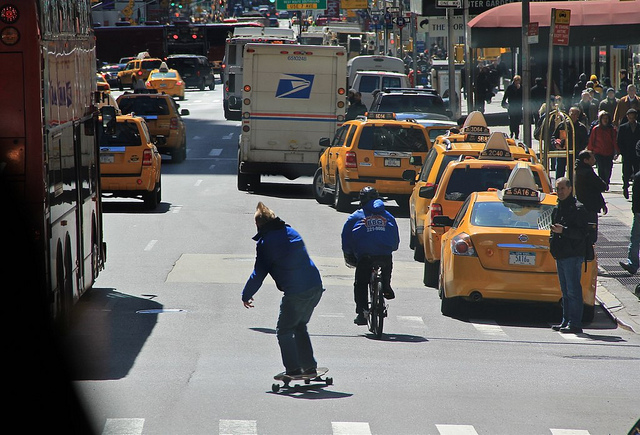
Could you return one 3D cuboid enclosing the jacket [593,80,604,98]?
[{"bbox_3d":[9.701,-4.471,34.735,0.431,0.417,0.767,2,14,3],"label":"jacket"}]

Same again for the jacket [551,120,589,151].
[{"bbox_3d":[6.199,-2.008,24.118,0.666,0.509,1.127,1,7,9],"label":"jacket"}]

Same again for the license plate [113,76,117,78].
[{"bbox_3d":[-15.027,-10.391,73.186,0.171,0.165,0.690,-9,18,-22],"label":"license plate"}]

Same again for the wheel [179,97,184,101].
[{"bbox_3d":[-8.377,-7.232,60.152,0.253,0.210,0.275,0,3,0],"label":"wheel"}]

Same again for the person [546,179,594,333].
[{"bbox_3d":[3.612,0.608,14.423,0.602,2.362,0.655,2,16,16],"label":"person"}]

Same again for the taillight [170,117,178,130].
[{"bbox_3d":[-4.698,-3.028,32.080,0.281,0.399,0.152,-12,18,-31],"label":"taillight"}]

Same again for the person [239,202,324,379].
[{"bbox_3d":[-0.410,0.841,11.203,0.814,1.874,0.609,-1,15,6],"label":"person"}]

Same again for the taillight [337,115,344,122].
[{"bbox_3d":[0.553,-2.718,26.955,0.155,0.170,0.053,0,6,2],"label":"taillight"}]

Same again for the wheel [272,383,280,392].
[{"bbox_3d":[-0.486,1.883,11.020,0.073,0.083,0.155,-2,16,0],"label":"wheel"}]

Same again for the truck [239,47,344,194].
[{"bbox_3d":[-0.756,-3.035,26.822,1.937,2.456,3.915,0,10,-4],"label":"truck"}]

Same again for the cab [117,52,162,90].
[{"bbox_3d":[-12.826,-10.103,70.899,2.179,2.305,4.444,-2,6,-32],"label":"cab"}]

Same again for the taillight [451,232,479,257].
[{"bbox_3d":[2.145,0.409,14.668,0.297,0.261,0.540,1,6,9],"label":"taillight"}]

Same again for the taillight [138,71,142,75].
[{"bbox_3d":[-12.417,-10.075,68.908,0.214,0.211,0.373,2,5,-10],"label":"taillight"}]

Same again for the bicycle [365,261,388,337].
[{"bbox_3d":[0.774,1.184,13.819,0.322,1.028,0.652,-1,15,3],"label":"bicycle"}]

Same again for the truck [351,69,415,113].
[{"bbox_3d":[2.380,-4.912,37.529,1.632,1.518,2.821,-1,8,-4],"label":"truck"}]

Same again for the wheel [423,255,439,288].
[{"bbox_3d":[1.917,0.933,17.088,0.190,0.547,0.523,0,3,0],"label":"wheel"}]

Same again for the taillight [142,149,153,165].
[{"bbox_3d":[-4.033,-1.420,23.244,0.240,0.336,0.210,-6,16,-13],"label":"taillight"}]

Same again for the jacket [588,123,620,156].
[{"bbox_3d":[7.169,-1.957,25.199,0.850,0.842,0.500,2,1,-2],"label":"jacket"}]

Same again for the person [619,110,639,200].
[{"bbox_3d":[7.616,-1.549,24.561,0.497,2.226,0.919,2,16,17],"label":"person"}]

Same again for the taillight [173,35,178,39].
[{"bbox_3d":[-11.155,-14.079,77.085,0.274,0.292,0.084,-21,5,-9],"label":"taillight"}]

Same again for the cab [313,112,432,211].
[{"bbox_3d":[1.401,-1.445,25.828,2.566,2.491,5.124,1,5,-9],"label":"cab"}]

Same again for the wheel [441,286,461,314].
[{"bbox_3d":[1.973,1.238,14.921,0.144,0.442,0.422,0,3,-2],"label":"wheel"}]

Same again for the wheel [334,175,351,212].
[{"bbox_3d":[0.561,-0.612,24.028,0.267,0.900,0.858,1,0,-3],"label":"wheel"}]

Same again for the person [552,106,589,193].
[{"bbox_3d":[5.948,-1.519,23.795,0.824,2.242,0.754,0,14,3],"label":"person"}]

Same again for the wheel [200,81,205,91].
[{"bbox_3d":[-8.286,-9.319,70.250,0.339,0.815,1.087,-4,16,-7],"label":"wheel"}]

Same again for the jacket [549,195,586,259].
[{"bbox_3d":[3.547,0.140,14.273,0.535,0.838,0.476,-2,15,2],"label":"jacket"}]

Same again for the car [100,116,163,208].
[{"bbox_3d":[-4.419,-1.223,23.272,1.183,1.477,2.603,0,10,-1],"label":"car"}]

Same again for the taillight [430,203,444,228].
[{"bbox_3d":[2.001,-0.090,17.094,0.211,0.211,0.378,-1,2,2],"label":"taillight"}]

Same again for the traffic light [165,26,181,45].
[{"bbox_3d":[-11.317,-14.166,76.960,1.199,1.310,0.457,2,-3,6],"label":"traffic light"}]

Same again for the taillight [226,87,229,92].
[{"bbox_3d":[-4.360,-6.076,46.953,0.059,0.261,0.247,4,-22,-18],"label":"taillight"}]

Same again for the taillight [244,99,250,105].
[{"bbox_3d":[-1.953,-3.112,26.627,0.165,0.140,0.055,-15,20,-38],"label":"taillight"}]

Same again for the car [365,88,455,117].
[{"bbox_3d":[2.728,-3.510,30.188,2.190,0.674,1.042,-2,16,3],"label":"car"}]

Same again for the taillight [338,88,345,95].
[{"bbox_3d":[0.575,-3.415,26.796,0.184,0.165,0.055,8,18,33],"label":"taillight"}]

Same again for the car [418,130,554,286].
[{"bbox_3d":[2.576,-0.411,17.148,1.625,1.391,3.144,-1,6,0],"label":"car"}]

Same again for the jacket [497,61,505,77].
[{"bbox_3d":[12.205,-9.980,67.051,0.425,1.171,2.404,1,17,10],"label":"jacket"}]

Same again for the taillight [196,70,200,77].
[{"bbox_3d":[-8.367,-10.027,68.834,0.244,0.482,0.262,2,44,-3],"label":"taillight"}]

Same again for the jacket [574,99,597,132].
[{"bbox_3d":[7.745,-3.024,28.815,0.971,0.754,1.674,0,6,11],"label":"jacket"}]

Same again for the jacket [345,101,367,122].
[{"bbox_3d":[1.156,-3.466,31.846,0.589,0.555,1.033,-1,11,2],"label":"jacket"}]

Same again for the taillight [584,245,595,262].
[{"bbox_3d":[3.914,0.562,14.481,0.090,0.239,0.291,10,20,38],"label":"taillight"}]

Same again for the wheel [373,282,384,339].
[{"bbox_3d":[0.799,1.276,13.640,0.148,0.739,0.264,-2,15,2],"label":"wheel"}]

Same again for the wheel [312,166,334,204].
[{"bbox_3d":[0.109,-0.820,25.520,0.268,0.818,0.774,-3,-13,-28],"label":"wheel"}]

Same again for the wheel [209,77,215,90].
[{"bbox_3d":[-7.808,-9.658,71.745,0.303,0.849,0.566,-4,16,-6],"label":"wheel"}]

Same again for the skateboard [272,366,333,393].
[{"bbox_3d":[-0.214,1.857,11.205,0.257,0.170,0.686,4,1,37],"label":"skateboard"}]
